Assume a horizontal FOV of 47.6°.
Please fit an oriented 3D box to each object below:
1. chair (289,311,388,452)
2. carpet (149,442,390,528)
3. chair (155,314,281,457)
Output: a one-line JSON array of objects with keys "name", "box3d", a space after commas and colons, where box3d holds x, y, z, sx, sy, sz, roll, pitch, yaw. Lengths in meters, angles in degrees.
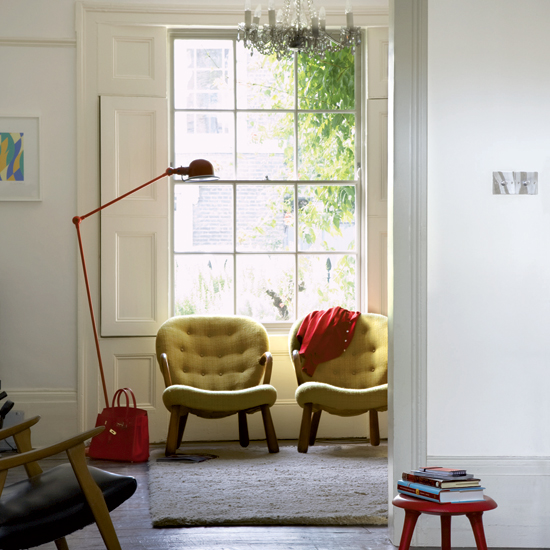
[{"name": "chair", "box3d": [0.507, 0.737, 4.296, 0.733, 1.103, 0.930, 5, -11, -13]}, {"name": "carpet", "box3d": [-0.026, 1.172, 3.662, 1.478, 0.066, 1.563, 0, -1, -1]}, {"name": "chair", "box3d": [-0.388, 0.748, 4.247, 0.779, 1.108, 0.938, 3, -14, -21]}]
